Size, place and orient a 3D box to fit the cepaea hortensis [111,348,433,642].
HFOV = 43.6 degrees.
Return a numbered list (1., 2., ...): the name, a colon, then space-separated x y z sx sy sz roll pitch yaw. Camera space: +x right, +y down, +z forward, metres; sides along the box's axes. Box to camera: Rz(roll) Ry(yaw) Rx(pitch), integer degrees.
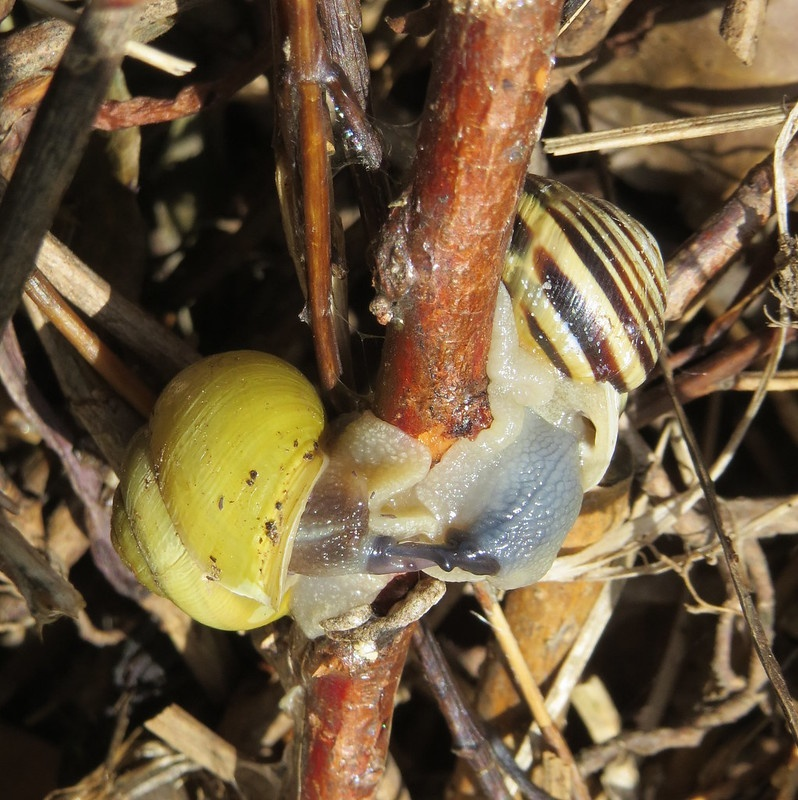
1. cepaea hortensis: -0.203 0.174 1.532 0.440 0.203 0.369 43 88 -5
